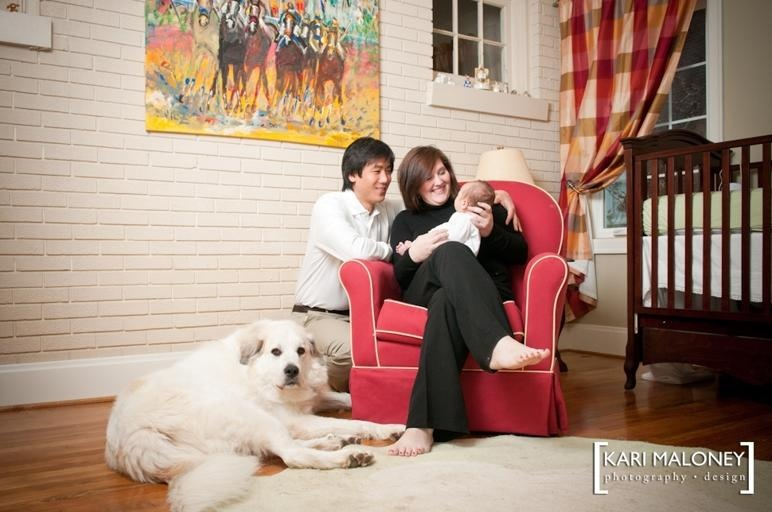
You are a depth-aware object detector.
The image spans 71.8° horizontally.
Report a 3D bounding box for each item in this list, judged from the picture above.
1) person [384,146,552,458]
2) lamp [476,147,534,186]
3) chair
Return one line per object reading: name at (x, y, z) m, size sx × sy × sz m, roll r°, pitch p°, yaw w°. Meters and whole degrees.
person at (0.392, 0.140, 2.823) m, size 0.755 × 1.496 × 0.915 m, roll -1°, pitch 7°, yaw 2°
lamp at (0.938, -0.699, 4.445) m, size 0.464 × 0.415 × 0.467 m, roll -3°, pitch 5°, yaw -3°
chair at (0.379, 0.413, 3.231) m, size 1.083 × 1.277 × 1.133 m, roll -2°, pitch -13°, yaw 15°
